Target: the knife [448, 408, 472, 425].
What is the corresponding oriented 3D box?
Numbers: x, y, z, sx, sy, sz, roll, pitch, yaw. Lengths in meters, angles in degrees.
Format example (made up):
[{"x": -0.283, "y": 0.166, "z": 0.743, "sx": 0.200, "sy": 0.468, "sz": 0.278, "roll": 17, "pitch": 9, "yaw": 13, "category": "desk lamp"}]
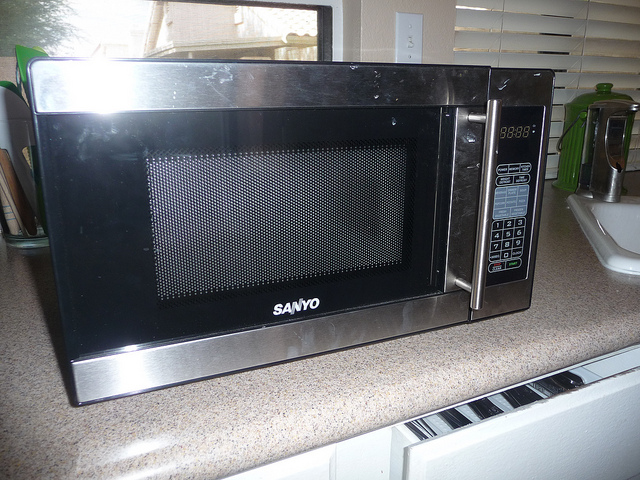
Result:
[{"x": 0.187, "y": 0.237, "z": 0.681, "sx": 0.011, "sy": 0.005, "sz": 0.032, "roll": -12, "pitch": 21, "yaw": -29, "category": "knife"}]
